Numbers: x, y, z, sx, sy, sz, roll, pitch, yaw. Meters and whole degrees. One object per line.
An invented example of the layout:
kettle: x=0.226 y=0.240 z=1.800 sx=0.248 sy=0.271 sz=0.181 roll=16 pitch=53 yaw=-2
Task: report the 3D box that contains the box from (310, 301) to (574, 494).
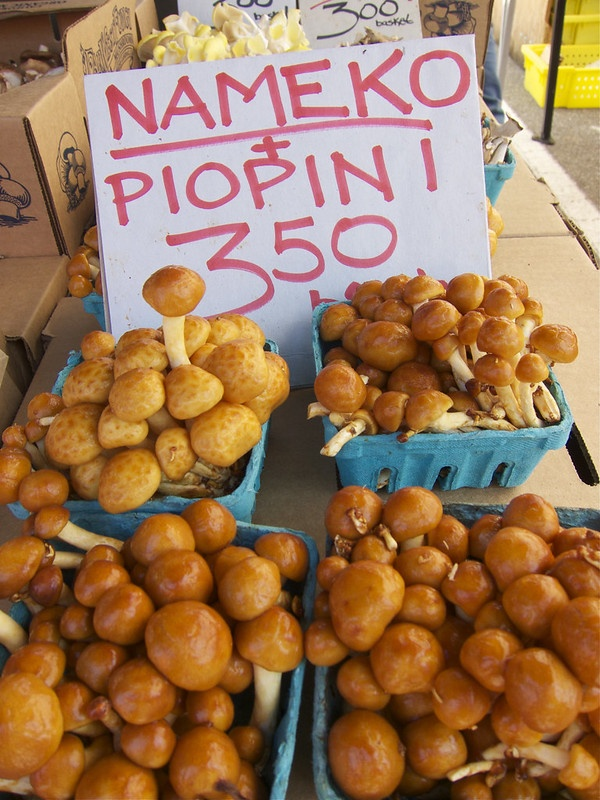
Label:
box: x=0.278 y=0.049 z=1.232 sx=0.385 sy=0.146 sz=0.265 roll=-2 pitch=53 yaw=-1
